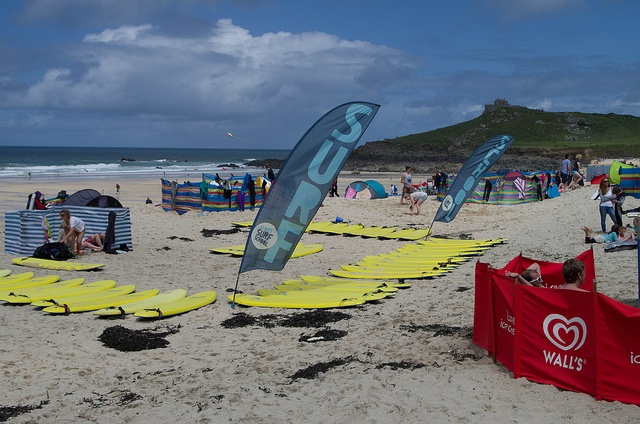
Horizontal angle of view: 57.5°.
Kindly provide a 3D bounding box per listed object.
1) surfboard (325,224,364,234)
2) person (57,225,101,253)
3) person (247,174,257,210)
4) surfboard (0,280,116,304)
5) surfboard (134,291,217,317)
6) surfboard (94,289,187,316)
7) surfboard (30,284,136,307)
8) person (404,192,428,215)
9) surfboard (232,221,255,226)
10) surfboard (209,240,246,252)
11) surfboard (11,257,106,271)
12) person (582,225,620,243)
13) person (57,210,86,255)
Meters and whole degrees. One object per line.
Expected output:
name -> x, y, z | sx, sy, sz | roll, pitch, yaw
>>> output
surfboard -> 0.852, 0.599, 20.031 | 0.406, 0.172, 1.633 | 3, 9, 22
person -> -6.564, 0.677, 15.992 | 0.739, 0.348, 0.880 | 9, -13, 35
person -> -2.918, -0.826, 24.802 | 0.338, 1.396, 0.552 | -3, 12, -6
surfboard -> -5.727, 1.771, 12.829 | 0.667, 0.271, 2.635 | 0, 3, 39
surfboard -> -2.885, 1.941, 12.223 | 0.491, 0.205, 1.614 | 4, 11, 36
surfboard -> -3.642, 1.914, 12.282 | 0.529, 0.178, 1.875 | 3, 12, 42
surfboard -> -5.023, 1.840, 12.613 | 0.562, 0.220, 2.484 | 0, 4, 44
person -> 3.850, -0.420, 22.920 | 1.099, 1.017, 0.781 | 2, 11, 23
surfboard -> -2.848, 0.411, 21.337 | 0.730, 0.107, 0.969 | -3, 10, -8
surfboard -> -2.672, 1.064, 17.130 | 1.015, 0.125, 0.958 | 4, 11, 25
surfboard -> -6.693, 1.344, 14.835 | 2.487, 0.194, 0.584 | 1, 11, 13
person -> 7.333, 0.584, 15.143 | 0.857, 0.524, 0.707 | 6, 13, 34
person -> -6.714, 0.585, 15.614 | 0.494, 1.253, 0.884 | 4, 16, 20
